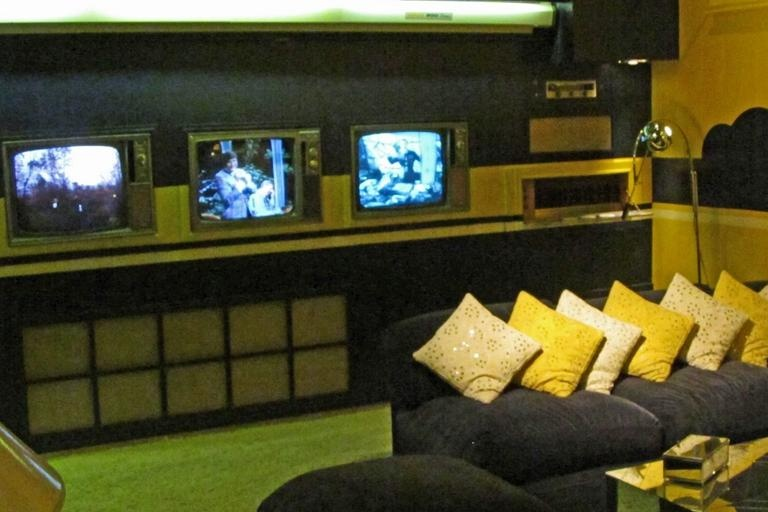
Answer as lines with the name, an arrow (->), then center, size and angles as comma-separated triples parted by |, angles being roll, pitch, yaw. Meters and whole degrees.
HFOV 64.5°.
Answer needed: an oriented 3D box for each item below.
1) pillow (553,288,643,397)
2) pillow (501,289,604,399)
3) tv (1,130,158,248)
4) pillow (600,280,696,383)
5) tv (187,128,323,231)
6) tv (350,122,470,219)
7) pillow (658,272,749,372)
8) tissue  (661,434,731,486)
pillow -> 0.979, 0.408, 2.794 | 0.421, 0.411, 0.167 | 27, -9, 19
pillow -> 0.780, 0.404, 2.735 | 0.429, 0.406, 0.125 | 30, -13, 13
tv -> -1.418, -0.284, 2.948 | 0.903, 0.599, 0.482 | -4, 4, -23
pillow -> 1.305, 0.413, 2.995 | 0.430, 0.410, 0.128 | 28, -9, 14
tv -> -0.693, -0.384, 3.265 | 0.907, 0.590, 0.472 | -2, 5, -22
tv -> 0.142, -0.489, 3.473 | 0.886, 0.611, 0.469 | -2, 3, -15
pillow -> 1.611, 0.386, 3.137 | 0.433, 0.405, 0.129 | 33, -5, 10
tissue  -> 1.172, 0.754, 2.285 | 0.316, 0.150, 0.127 | -9, 12, -30
